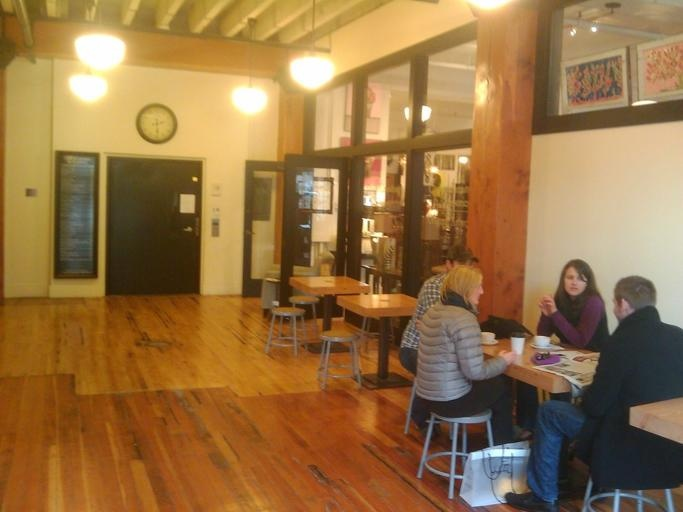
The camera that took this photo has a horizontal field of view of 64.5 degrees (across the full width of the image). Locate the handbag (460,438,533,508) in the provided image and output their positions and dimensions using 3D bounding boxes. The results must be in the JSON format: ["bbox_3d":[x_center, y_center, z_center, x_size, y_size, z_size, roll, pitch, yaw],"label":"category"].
[{"bbox_3d":[1.003,1.424,3.500,0.360,0.279,0.161,-2,12,-19],"label":"handbag"}]

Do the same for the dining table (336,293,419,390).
[{"bbox_3d":[0.340,0.850,5.605,0.843,0.923,0.918,-3,8,-20],"label":"dining table"}]

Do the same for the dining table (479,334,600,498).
[{"bbox_3d":[1.326,1.036,3.600,0.424,0.573,0.773,-6,14,-21],"label":"dining table"}]

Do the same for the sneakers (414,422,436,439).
[{"bbox_3d":[0.688,1.449,4.465,0.143,0.050,0.202,12,17,39],"label":"sneakers"}]

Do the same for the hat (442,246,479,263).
[{"bbox_3d":[0.992,0.001,4.669,0.150,0.123,0.200,4,-6,-38],"label":"hat"}]

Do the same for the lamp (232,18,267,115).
[{"bbox_3d":[-1.528,-2.947,8.881,0.512,1.275,2.039,-1,3,-9],"label":"lamp"}]

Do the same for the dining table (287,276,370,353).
[{"bbox_3d":[-0.125,0.485,6.578,0.902,1.020,0.969,-4,10,-25],"label":"dining table"}]

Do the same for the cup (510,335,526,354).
[{"bbox_3d":[1.199,0.617,3.709,0.115,0.119,0.096,-1,-2,26],"label":"cup"}]

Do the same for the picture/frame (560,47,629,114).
[{"bbox_3d":[2.116,-1.462,4.516,0.075,0.517,0.688,-3,3,-26],"label":"picture/frame"}]

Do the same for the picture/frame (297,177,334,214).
[{"bbox_3d":[-0.402,-0.910,8.145,0.551,0.539,0.130,2,3,-13],"label":"picture/frame"}]
